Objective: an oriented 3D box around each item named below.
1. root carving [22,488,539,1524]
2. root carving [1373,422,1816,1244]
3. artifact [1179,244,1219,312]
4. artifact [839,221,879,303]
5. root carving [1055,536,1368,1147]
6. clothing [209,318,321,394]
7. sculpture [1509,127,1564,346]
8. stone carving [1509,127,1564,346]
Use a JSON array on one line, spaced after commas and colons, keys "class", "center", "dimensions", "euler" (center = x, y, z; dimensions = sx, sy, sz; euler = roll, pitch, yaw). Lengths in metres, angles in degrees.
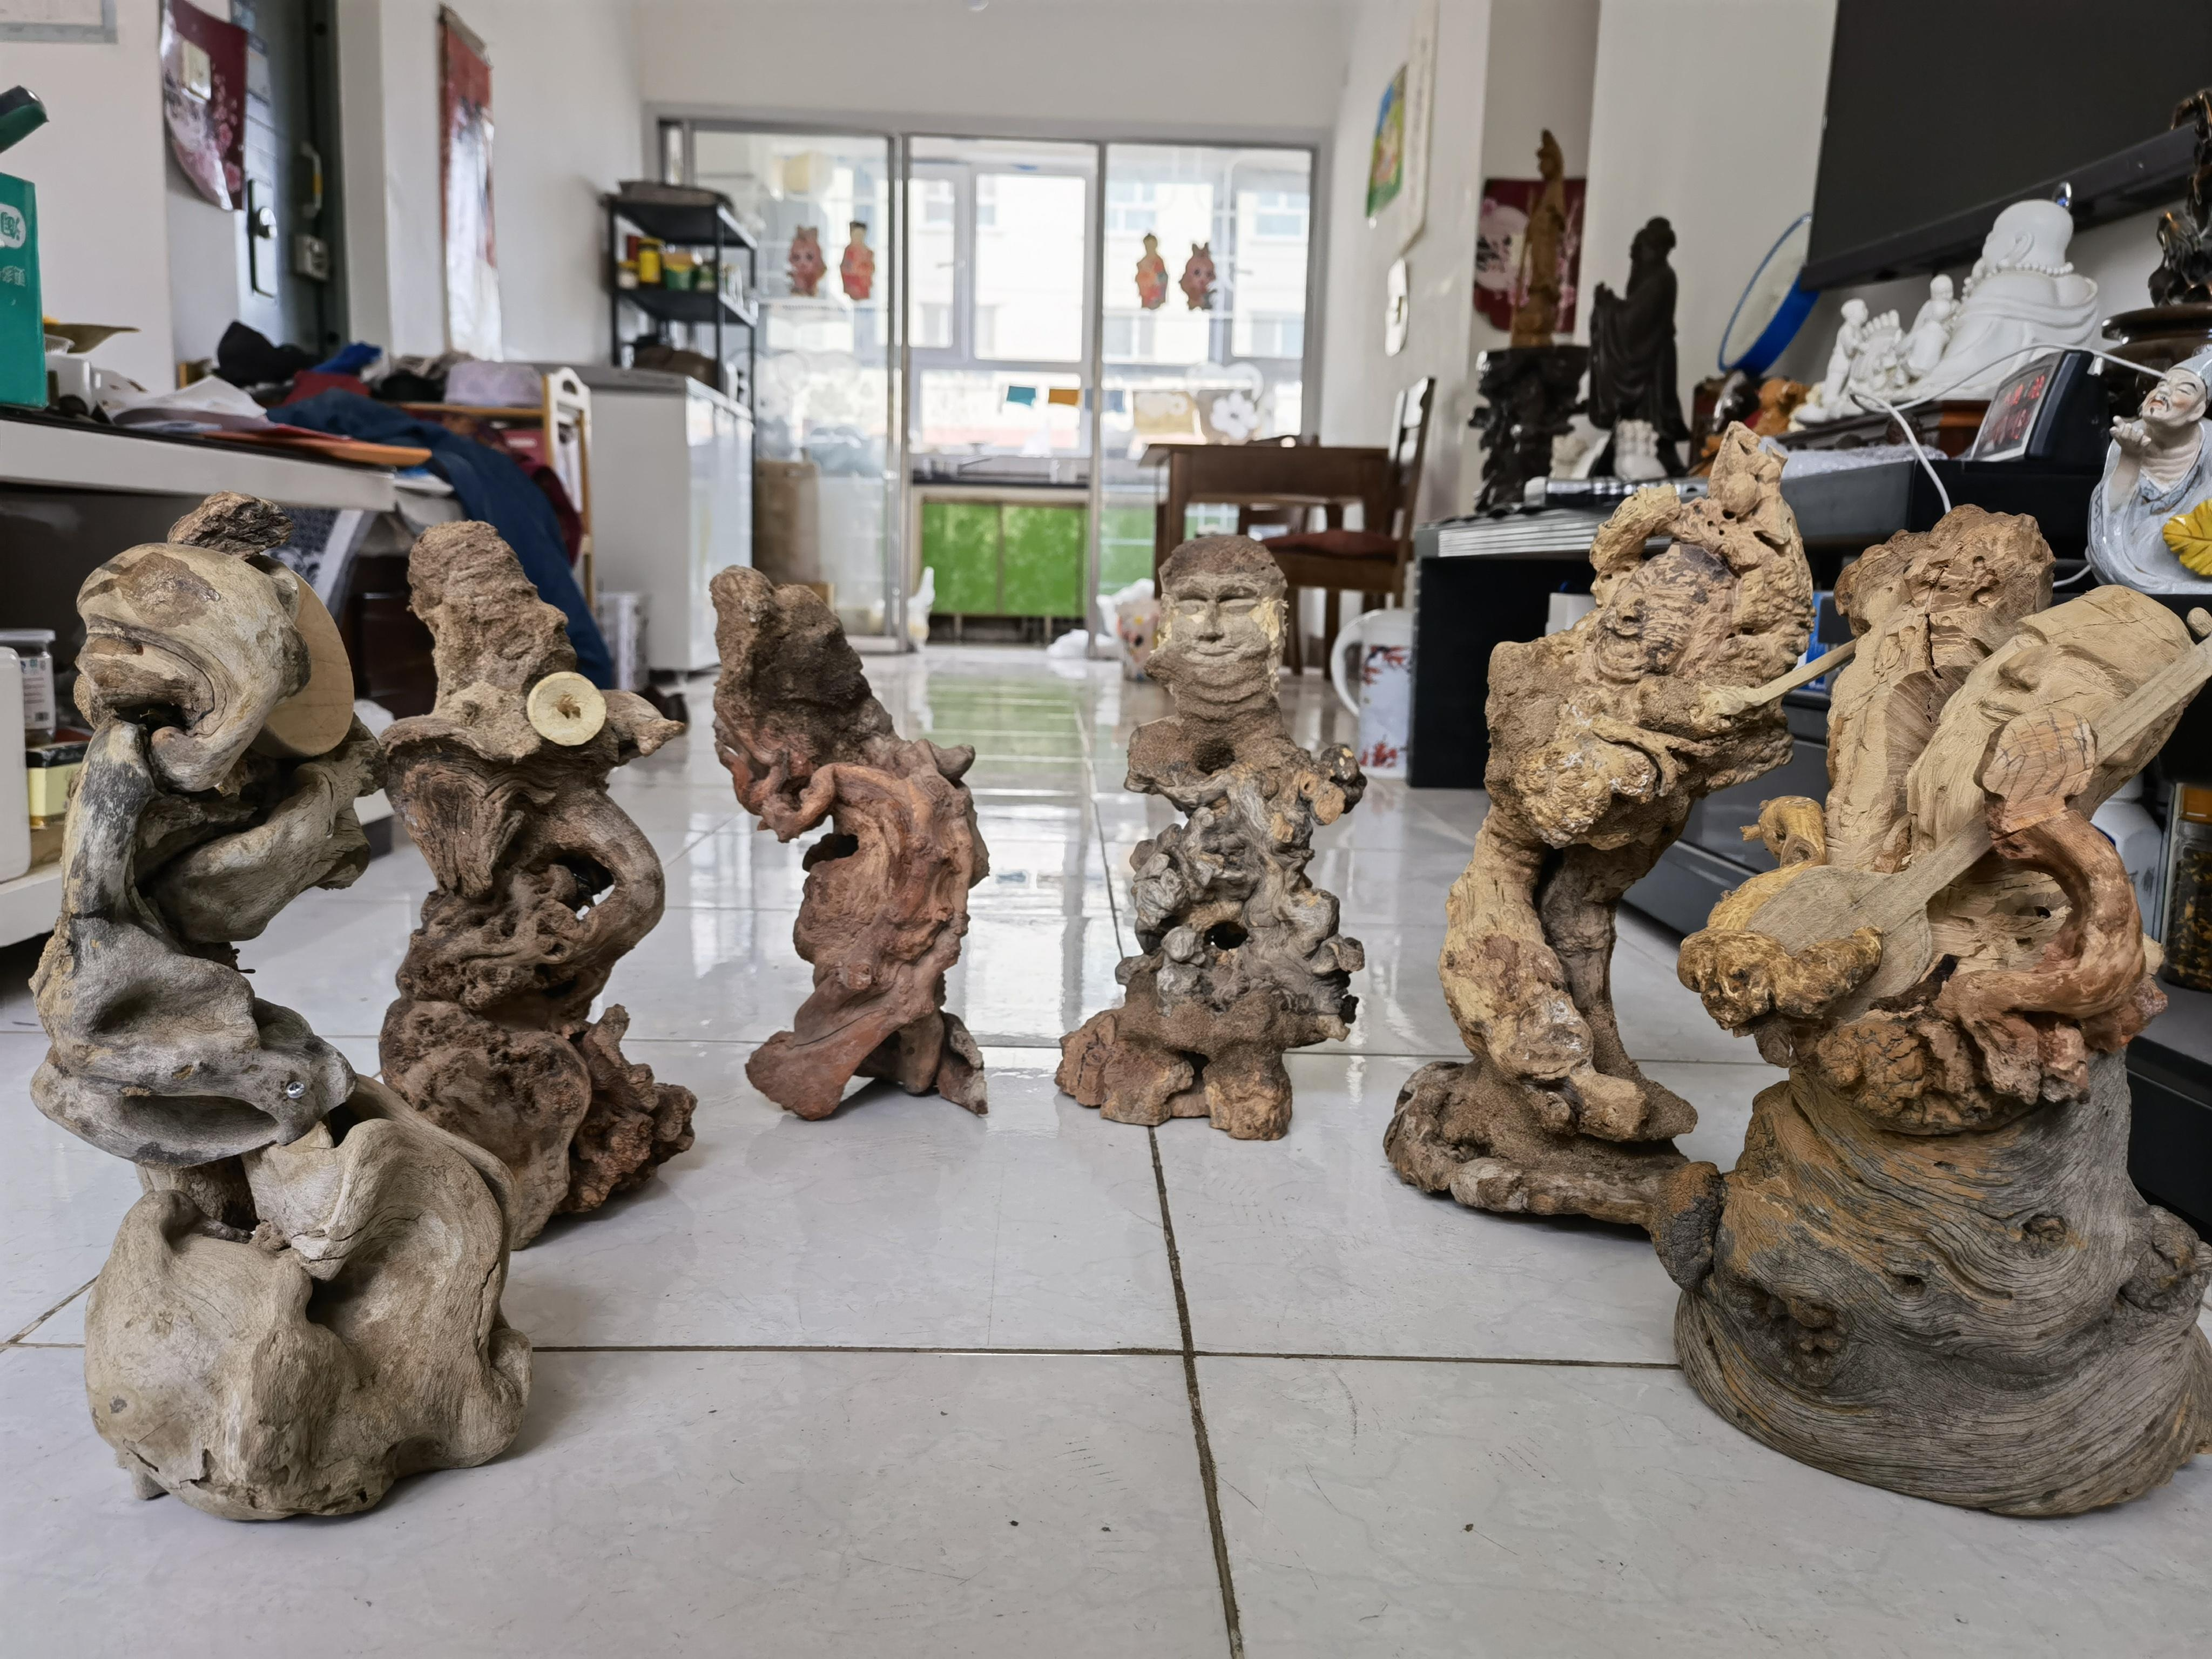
[{"class": "root carving", "center": [-0.799, 0.133, 1.943], "dimensions": [0.568, 0.966, 0.610], "euler": [-5, 22, -35]}, {"class": "root carving", "center": [0.609, 0.001, 2.350], "dimensions": [0.380, 0.943, 0.697], "euler": [-1, 14, -6]}, {"class": "artifact", "center": [0.498, -3.086, 9.723], "dimensions": [0.254, 0.405, 0.187], "euler": [3, 34, 4]}, {"class": "artifact", "center": [-1.365, -3.096, 9.532], "dimensions": [0.207, 0.406, 0.045], "euler": [0, 21, -1]}, {"class": "root carving", "center": [0.108, 0.033, 2.689], "dimensions": [0.418, 0.886, 0.477], "euler": [1, 18, -7]}, {"class": "clothing", "center": [-2.552, -1.434, 5.267], "dimensions": [0.270, 0.164, 0.298], "euler": [-11, 24, -28]}, {"class": "sculpture", "center": [1.450, -1.977, 5.869], "dimensions": [0.159, 0.681, 0.575], "euler": [5, 21, 12]}, {"class": "stone carving", "center": [1.450, -1.977, 5.869], "dimensions": [0.159, 0.681, 0.575], "euler": [5, 21, 12]}]
